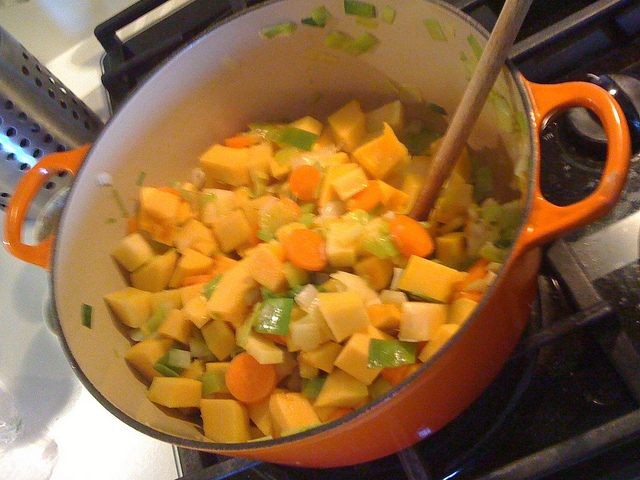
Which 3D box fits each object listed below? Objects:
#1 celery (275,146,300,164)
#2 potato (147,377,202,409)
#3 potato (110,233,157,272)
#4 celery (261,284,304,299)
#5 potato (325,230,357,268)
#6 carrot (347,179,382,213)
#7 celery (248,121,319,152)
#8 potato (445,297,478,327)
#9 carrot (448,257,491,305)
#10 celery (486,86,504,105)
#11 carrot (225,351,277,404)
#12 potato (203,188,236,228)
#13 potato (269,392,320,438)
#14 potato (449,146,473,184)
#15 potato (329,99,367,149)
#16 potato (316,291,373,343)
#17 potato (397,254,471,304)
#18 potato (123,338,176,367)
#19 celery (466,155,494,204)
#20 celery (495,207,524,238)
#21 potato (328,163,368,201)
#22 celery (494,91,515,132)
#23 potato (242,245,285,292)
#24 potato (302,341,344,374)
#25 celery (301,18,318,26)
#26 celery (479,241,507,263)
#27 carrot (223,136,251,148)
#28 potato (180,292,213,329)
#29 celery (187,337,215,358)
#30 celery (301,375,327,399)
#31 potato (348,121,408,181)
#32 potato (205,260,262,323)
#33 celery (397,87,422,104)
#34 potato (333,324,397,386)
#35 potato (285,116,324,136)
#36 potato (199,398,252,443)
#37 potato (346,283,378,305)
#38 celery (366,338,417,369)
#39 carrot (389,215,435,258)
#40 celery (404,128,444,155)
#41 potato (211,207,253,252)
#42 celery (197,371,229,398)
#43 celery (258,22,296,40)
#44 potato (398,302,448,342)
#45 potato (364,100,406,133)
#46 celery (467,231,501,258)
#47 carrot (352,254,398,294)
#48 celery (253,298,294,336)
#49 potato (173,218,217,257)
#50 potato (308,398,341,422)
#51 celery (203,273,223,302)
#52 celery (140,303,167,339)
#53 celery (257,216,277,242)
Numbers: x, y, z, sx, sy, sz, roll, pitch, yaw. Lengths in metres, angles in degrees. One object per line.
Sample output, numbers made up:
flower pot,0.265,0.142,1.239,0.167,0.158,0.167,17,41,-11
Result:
celery,-0.074,-0.194,1.249,0.042,0.012,0.046,-14,51,-1
potato,-0.278,0.285,1.071,0.096,0.023,0.060,4,84,-1
potato,-0.405,0.024,1.196,0.082,0.060,0.082,-38,95,-8
celery,-0.074,0.105,1.089,0.037,0.046,0.017,13,61,-32
potato,0.044,0.016,1.080,0.061,0.047,0.065,-3,85,4
carrot,0.097,-0.089,1.153,0.067,0.017,0.068,-12,72,24
celery,-0.075,-0.252,1.294,0.125,0.074,0.166,4,24,3
potato,0.253,0.125,0.984,0.014,0.051,0.049,26,74,-20
carrot,0.293,0.087,1.032,0.086,0.022,0.066,-44,19,3
celery,0.326,-0.268,1.026,0.023,0.026,0.007,27,64,29
carrot,-0.131,0.257,1.052,0.088,0.033,0.093,-3,80,6
potato,-0.221,-0.074,1.221,0.076,0.024,0.077,-1,71,11
potato,-0.045,0.314,0.999,0.079,0.037,0.089,-13,62,-7
potato,0.295,-0.147,1.170,0.066,0.073,0.077,1,53,11
potato,0.073,-0.269,1.312,0.095,0.073,0.097,-35,78,2
potato,0.051,0.129,1.043,0.088,0.087,0.092,-24,94,-25
potato,0.206,0.067,1.025,0.115,0.030,0.083,22,93,9
potato,-0.350,0.232,1.123,0.079,0.025,0.053,-20,73,3
celery,0.343,-0.128,1.168,0.021,0.084,0.087,5,61,-29
celery,0.353,-0.037,1.036,0.045,0.025,0.058,4,86,45
potato,0.069,-0.114,1.176,0.073,0.020,0.075,-32,71,-13
celery,0.342,-0.235,1.019,0.011,0.058,0.063,-20,58,1
potato,-0.108,0.054,1.098,0.079,0.022,0.079,42,90,17
potato,0.009,0.213,1.020,0.061,0.027,0.061,24,90,-2
celery,-0.022,-0.466,1.178,0.036,0.011,0.011,18,29,19
celery,0.325,0.023,1.035,0.028,0.014,0.045,-52,38,0
carrot,-0.195,-0.232,1.301,0.032,0.009,0.034,0,37,9
potato,-0.241,0.135,1.107,0.060,0.017,0.063,-41,70,-2
celery,-0.248,0.222,1.136,0.037,0.011,0.042,1,83,6
celery,-0.009,0.275,1.041,0.034,0.016,0.046,37,94,25
potato,0.125,-0.189,1.218,0.110,0.126,0.087,-11,22,-30
potato,-0.170,0.104,1.097,0.127,0.081,0.037,-62,20,-15
celery,0.205,-0.327,1.243,0.036,0.040,0.012,22,53,12
potato,0.069,0.202,1.028,0.121,0.088,0.080,-55,22,-14
potato,-0.042,-0.267,1.287,0.060,0.018,0.067,2,32,8
potato,-0.179,0.344,1.044,0.096,0.064,0.069,-4,49,10
potato,0.082,0.102,1.045,0.043,0.012,0.040,18,35,-20
celery,0.130,0.199,0.976,0.095,0.029,0.056,-1,54,-6
carrot,0.178,-0.008,1.122,0.110,0.069,0.081,-2,14,-21
celery,0.237,-0.233,1.272,0.068,0.020,0.065,-42,69,9
potato,-0.187,-0.023,1.181,0.082,0.079,0.022,-27,11,16
celery,-0.210,0.280,1.086,0.053,0.079,0.045,-1,90,-19
celery,-0.093,-0.453,1.189,0.072,0.027,0.011,-10,26,0
potato,0.184,0.144,0.990,0.107,0.060,0.084,1,75,2
potato,0.155,-0.266,1.277,0.078,0.026,0.077,-49,41,-1
celery,0.326,0.007,1.096,0.059,0.015,0.043,-43,42,4
carrot,0.112,0.058,1.122,0.109,0.063,0.078,14,85,5
celery,-0.082,0.144,1.065,0.083,0.019,0.085,-8,86,-25
potato,-0.264,-0.009,1.221,0.079,0.071,0.110,-3,27,-11
potato,0.010,0.316,1.013,0.042,0.040,0.012,-34,17,15
celery,-0.221,0.095,1.125,0.044,0.012,0.046,-12,40,58
celery,-0.346,0.169,1.156,0.059,0.019,0.057,-50,52,1
celery,-0.111,-0.018,1.166,0.035,0.009,0.039,-6,60,-22
